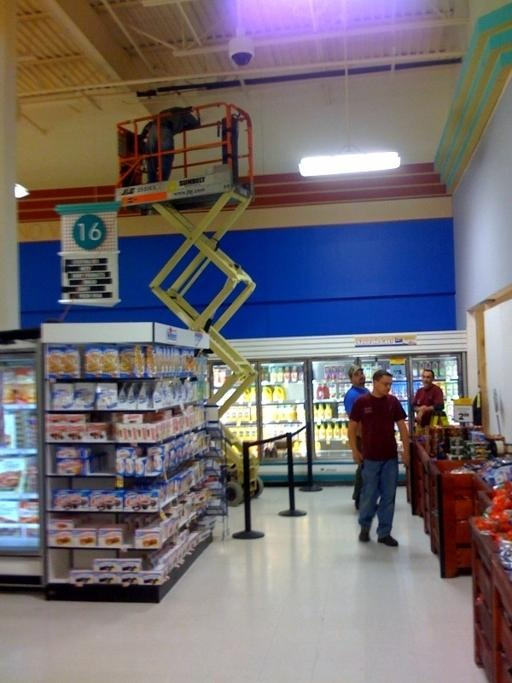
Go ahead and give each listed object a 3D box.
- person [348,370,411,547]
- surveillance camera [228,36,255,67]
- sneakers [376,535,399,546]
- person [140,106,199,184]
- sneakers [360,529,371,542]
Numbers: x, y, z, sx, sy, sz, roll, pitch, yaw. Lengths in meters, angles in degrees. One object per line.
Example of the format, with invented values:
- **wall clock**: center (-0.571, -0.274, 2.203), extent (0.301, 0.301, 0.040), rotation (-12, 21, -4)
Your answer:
- **person**: center (1.103, 1.039, 5.214), extent (0.510, 1.554, 0.428), rotation (-5, -6, 21)
- **surveillance camera**: center (-0.176, -3.265, 6.553), extent (0.324, 0.296, 0.330), rotation (19, 25, 40)
- **sneakers**: center (1.171, 1.763, 5.159), extent (0.073, 0.081, 0.195), rotation (-3, -1, -44)
- **person**: center (-1.108, -2.430, 7.316), extent (0.693, 0.922, 0.876), rotation (-1, -6, -12)
- **sneakers**: center (1.000, 1.782, 5.322), extent (0.061, 0.112, 0.170), rotation (2, -1, 8)
